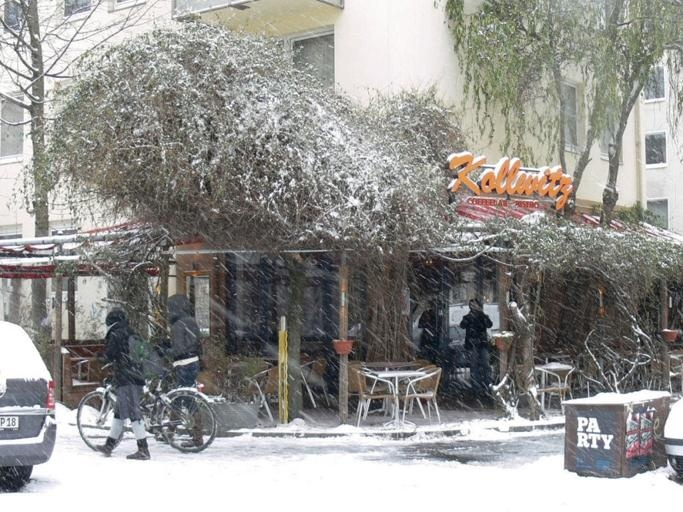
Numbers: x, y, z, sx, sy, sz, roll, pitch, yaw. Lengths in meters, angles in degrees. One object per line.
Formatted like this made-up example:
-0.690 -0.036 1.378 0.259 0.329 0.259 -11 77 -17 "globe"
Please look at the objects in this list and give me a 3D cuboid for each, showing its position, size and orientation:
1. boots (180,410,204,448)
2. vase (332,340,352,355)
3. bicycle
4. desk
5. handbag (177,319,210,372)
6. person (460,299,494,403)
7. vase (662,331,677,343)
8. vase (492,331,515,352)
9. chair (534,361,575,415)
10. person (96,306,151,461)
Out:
-2.471 2.831 16.271 0.320 0.232 0.617 21 -45 1 "boots"
0.039 1.709 18.429 0.317 0.318 0.502 2 -12 -2 "vase"
-3.163 2.540 16.633 2.144 1.786 1.271 4 0 6 "bicycle"
4.298 2.824 15.241 0.937 1.250 1.641 -6 -9 42 "desk"
-2.455 1.416 16.116 0.138 0.700 0.598 0 -5 34 "handbag"
3.012 2.157 21.757 0.638 2.253 0.982 -1 -10 12 "person"
7.494 1.821 22.307 0.297 0.300 0.342 -2 0 3 "vase"
3.257 1.746 19.744 0.297 0.460 0.354 0 -5 2 "vase"
4.523 3.036 20.460 0.877 1.470 1.293 -2 -1 9 "chair"
-3.430 2.058 15.830 0.845 2.442 0.539 1 -9 0 "person"
